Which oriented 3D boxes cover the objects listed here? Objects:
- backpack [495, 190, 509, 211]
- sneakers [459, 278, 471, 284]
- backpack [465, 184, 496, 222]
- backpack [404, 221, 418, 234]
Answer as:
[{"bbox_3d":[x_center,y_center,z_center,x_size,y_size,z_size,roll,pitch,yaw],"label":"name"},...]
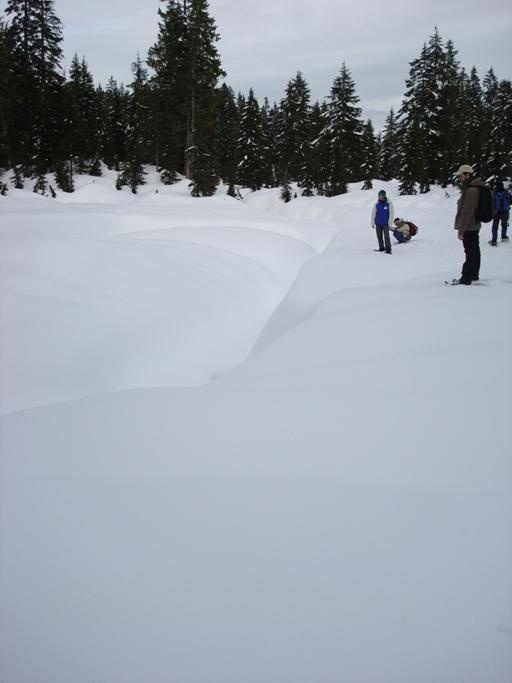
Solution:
[{"bbox_3d":[3.991,-2.292,13.615,0.233,0.331,0.611,3,10,15],"label":"backpack"},{"bbox_3d":[2.394,-0.684,9.568,0.142,0.068,0.111,2,10,11],"label":"sneakers"},{"bbox_3d":[2.710,-1.660,10.008,0.321,0.447,0.285,0,10,-4],"label":"backpack"},{"bbox_3d":[2.621,-1.914,14.181,0.263,0.229,0.178,-3,3,18],"label":"backpack"}]
